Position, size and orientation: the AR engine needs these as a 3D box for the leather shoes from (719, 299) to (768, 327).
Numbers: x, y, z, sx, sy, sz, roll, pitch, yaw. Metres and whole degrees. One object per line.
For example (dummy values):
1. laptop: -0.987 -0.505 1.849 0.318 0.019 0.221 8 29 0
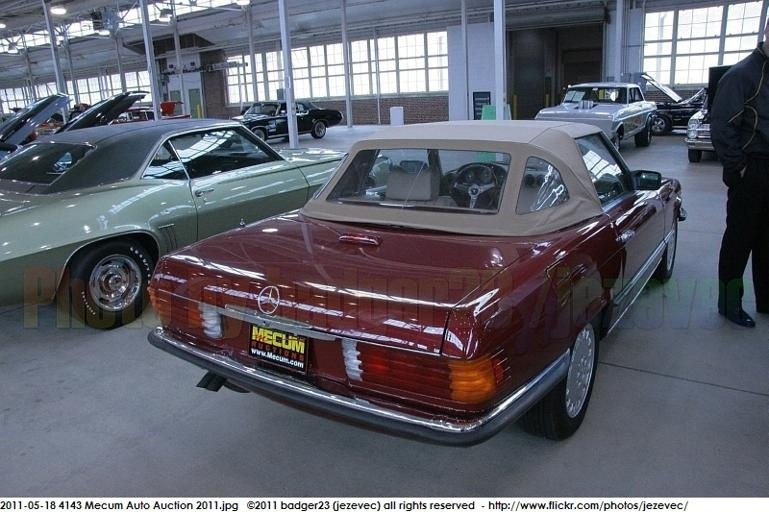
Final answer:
1. leather shoes: 3.084 0.495 3.943 0.111 0.220 0.309 -28 27 -37

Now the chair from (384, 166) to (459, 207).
1. chair: 0.206 -0.454 3.051 0.302 0.304 0.329 5 18 19

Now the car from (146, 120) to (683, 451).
1. car: 0.753 -0.025 3.314 1.758 1.117 3.373 10 25 34

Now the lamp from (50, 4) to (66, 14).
1. lamp: -12.220 -9.162 17.088 0.439 0.300 0.946 -16 24 -34
